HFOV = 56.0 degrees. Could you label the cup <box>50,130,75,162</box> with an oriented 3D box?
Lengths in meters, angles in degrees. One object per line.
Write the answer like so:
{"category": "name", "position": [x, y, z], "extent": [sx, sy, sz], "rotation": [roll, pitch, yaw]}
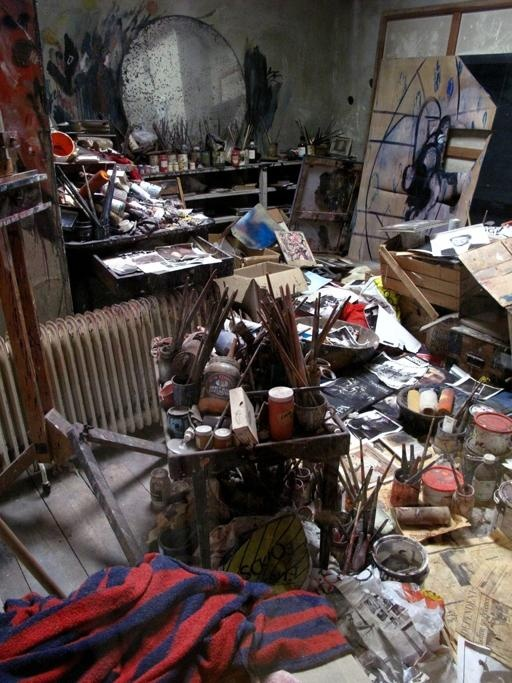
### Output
{"category": "cup", "position": [-1.300, -1.312, 3.242], "extent": [0.142, 0.175, 0.230], "rotation": [-7, 25, -18]}

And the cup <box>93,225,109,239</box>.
{"category": "cup", "position": [-0.988, -0.687, 3.028], "extent": [0.044, 0.075, 0.079], "rotation": [13, 21, 40]}

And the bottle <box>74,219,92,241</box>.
{"category": "bottle", "position": [-1.056, -0.691, 2.996], "extent": [0.108, 0.115, 0.119], "rotation": [1, 41, -8]}

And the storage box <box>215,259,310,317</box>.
{"category": "storage box", "position": [0.015, -0.474, 3.770], "extent": [0.784, 0.348, 0.562], "rotation": [-22, 33, -29]}

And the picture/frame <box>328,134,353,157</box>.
{"category": "picture/frame", "position": [1.056, -2.420, 6.001], "extent": [0.281, 0.211, 0.628], "rotation": [6, 24, 9]}

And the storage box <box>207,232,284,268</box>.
{"category": "storage box", "position": [-0.044, -0.838, 4.503], "extent": [0.524, 0.144, 0.544], "rotation": [-10, 43, -19]}

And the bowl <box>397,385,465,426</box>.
{"category": "bowl", "position": [0.954, 0.381, 2.805], "extent": [0.276, 0.102, 0.288], "rotation": [0, 10, 0]}

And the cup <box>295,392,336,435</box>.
{"category": "cup", "position": [0.175, 0.226, 1.610], "extent": [0.141, 0.101, 0.114], "rotation": [28, 44, 33]}

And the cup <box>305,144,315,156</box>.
{"category": "cup", "position": [0.653, -2.324, 5.814], "extent": [0.094, 0.103, 0.212], "rotation": [8, 24, 15]}

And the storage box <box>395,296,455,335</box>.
{"category": "storage box", "position": [1.386, -0.241, 3.964], "extent": [0.087, 0.320, 0.309], "rotation": [-12, 3, -38]}

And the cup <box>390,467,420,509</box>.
{"category": "cup", "position": [0.625, 0.638, 2.162], "extent": [0.156, 0.162, 0.150], "rotation": [-1, 35, 1]}

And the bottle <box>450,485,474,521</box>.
{"category": "bottle", "position": [0.902, 0.706, 2.094], "extent": [0.088, 0.156, 0.067], "rotation": [-6, 25, -17]}

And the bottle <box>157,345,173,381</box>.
{"category": "bottle", "position": [-0.376, 0.090, 1.992], "extent": [0.075, 0.122, 0.081], "rotation": [8, 42, -8]}
